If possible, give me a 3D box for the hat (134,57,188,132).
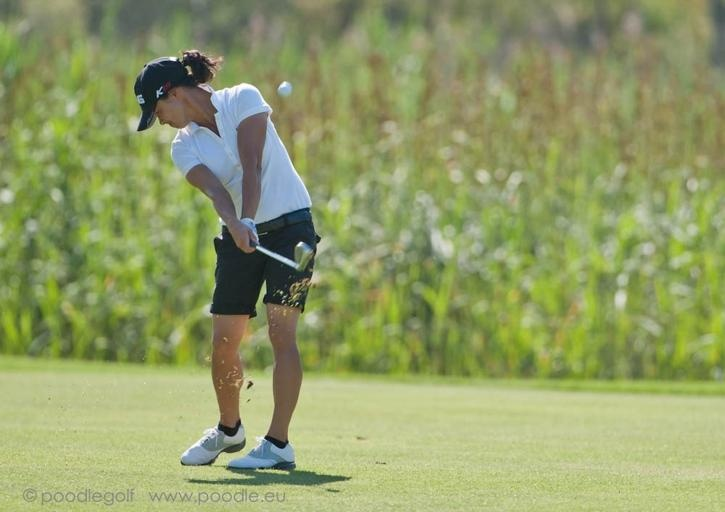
[{"bbox_3d":[-1.051,-0.866,6.433,0.288,0.368,0.164,-4,11,-23],"label":"hat"}]

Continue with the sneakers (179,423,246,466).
[{"bbox_3d":[-0.780,0.978,6.474,0.377,0.174,0.134,-20,18,-38],"label":"sneakers"}]

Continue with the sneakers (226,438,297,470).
[{"bbox_3d":[-0.520,1.026,6.385,0.320,0.174,0.146,3,-7,-3],"label":"sneakers"}]

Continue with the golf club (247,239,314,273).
[{"bbox_3d":[-0.422,-0.013,6.402,0.308,0.086,0.060,23,-6,43],"label":"golf club"}]

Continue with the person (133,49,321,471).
[{"bbox_3d":[-0.706,0.021,6.434,0.915,2.164,0.638,0,10,0],"label":"person"}]

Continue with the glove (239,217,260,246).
[{"bbox_3d":[-0.581,-0.135,6.301,0.059,0.133,0.099,-5,-48,-3],"label":"glove"}]
